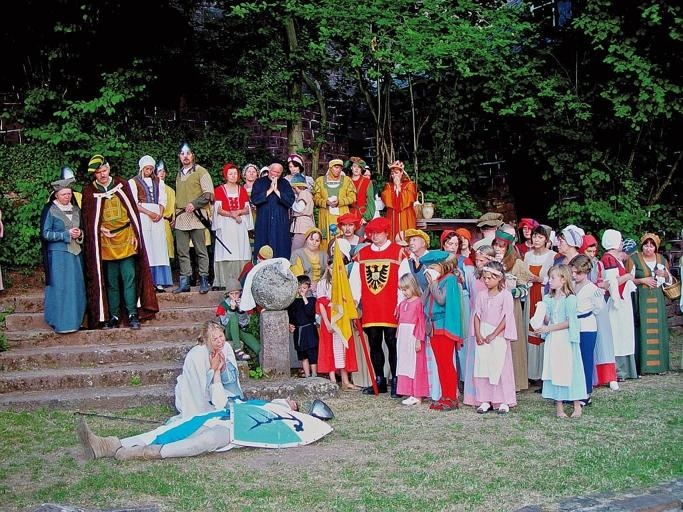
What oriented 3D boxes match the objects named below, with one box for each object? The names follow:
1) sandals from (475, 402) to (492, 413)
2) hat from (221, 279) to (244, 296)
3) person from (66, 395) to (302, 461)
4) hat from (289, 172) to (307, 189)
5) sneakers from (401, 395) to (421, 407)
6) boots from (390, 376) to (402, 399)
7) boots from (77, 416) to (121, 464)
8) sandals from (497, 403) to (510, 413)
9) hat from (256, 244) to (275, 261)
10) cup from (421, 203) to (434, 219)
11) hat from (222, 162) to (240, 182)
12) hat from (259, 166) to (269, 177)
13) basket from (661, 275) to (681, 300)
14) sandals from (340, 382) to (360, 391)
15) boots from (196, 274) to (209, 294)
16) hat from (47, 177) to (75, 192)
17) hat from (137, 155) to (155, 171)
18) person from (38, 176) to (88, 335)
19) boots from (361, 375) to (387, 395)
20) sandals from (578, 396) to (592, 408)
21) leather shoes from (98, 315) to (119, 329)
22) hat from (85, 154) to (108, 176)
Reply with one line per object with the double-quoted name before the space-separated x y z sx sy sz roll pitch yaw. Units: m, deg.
"sandals" 1.743 1.841 10.291 0.213 0.118 0.195 -3 -1 -3
"hat" -1.439 0.409 11.230 0.170 0.192 0.228 -6 14 4
"person" -1.902 1.953 9.036 1.763 0.505 0.589 -12 5 -19
"hat" -0.664 -1.169 13.166 0.227 0.128 0.222 5 -1 -14
"sneakers" 0.881 1.823 10.594 0.181 0.084 0.110 1 -3 -2
"boots" 0.686 1.684 10.947 0.123 0.231 0.452 -2 -2 -14
"boots" -2.521 1.866 8.809 0.428 0.487 0.169 -15 14 -29
"sandals" 1.974 1.853 10.291 0.077 0.089 0.140 -2 -18 7
"hat" -1.077 -0.048 11.678 0.231 0.235 0.183 32 33 30
"cup" 1.535 -0.790 14.974 0.241 0.303 0.260 1 -3 0
"hat" -1.687 -1.335 12.825 0.273 0.419 0.313 -2 12 -7
"hat" -1.254 -1.341 13.692 0.178 0.147 0.310 -4 19 -2
"basket" 4.908 0.483 12.641 0.276 0.334 0.318 -9 -7 35
"sandals" 0.121 1.745 11.302 0.279 0.130 0.090 -5 -3 6
"boots" -2.045 0.417 12.596 0.140 0.204 0.157 -2 -1 -10
"hat" -4.084 -1.051 12.309 0.411 0.214 0.474 -5 2 -14
"hat" -2.998 -1.421 12.973 0.271 0.348 0.330 -2 -4 -22
"person" -3.809 -0.017 11.594 0.546 2.145 0.362 -2 -1 -18
"boots" 0.414 1.713 11.138 0.351 0.263 0.150 3 -2 -12
"sandals" 3.045 1.820 10.525 0.072 0.091 0.219 1 8 28
"leather shoes" -3.191 0.925 11.635 0.296 0.136 0.129 2 -4 -27
"hat" -3.449 -1.308 11.969 0.236 0.325 0.563 -2 -2 -18
